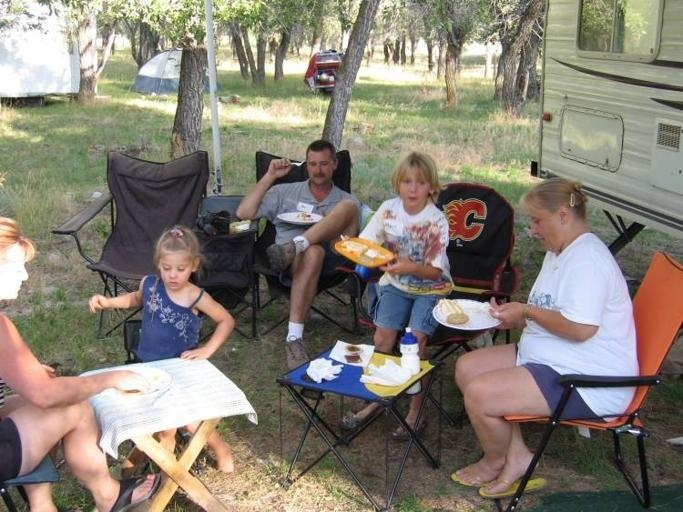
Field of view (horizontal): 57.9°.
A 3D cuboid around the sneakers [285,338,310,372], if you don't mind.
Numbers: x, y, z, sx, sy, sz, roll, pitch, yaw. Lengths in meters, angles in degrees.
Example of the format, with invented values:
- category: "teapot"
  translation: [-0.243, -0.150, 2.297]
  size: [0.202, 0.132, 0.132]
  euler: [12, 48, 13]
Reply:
- category: "sneakers"
  translation: [-0.303, 0.666, 4.234]
  size: [0.112, 0.130, 0.314]
  euler: [-7, 7, -16]

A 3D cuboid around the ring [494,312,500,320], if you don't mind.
- category: "ring"
  translation: [0.830, 0.319, 3.297]
  size: [0.021, 0.032, 0.010]
  euler: [-23, -19, 23]

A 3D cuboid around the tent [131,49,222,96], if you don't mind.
- category: "tent"
  translation: [-5.191, -5.266, 17.454]
  size: [1.344, 1.222, 1.035]
  euler: [3, 19, -2]

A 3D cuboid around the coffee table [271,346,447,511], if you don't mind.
- category: "coffee table"
  translation: [0.071, 0.813, 3.352]
  size: [0.814, 0.690, 0.788]
  euler: [-4, 8, -43]

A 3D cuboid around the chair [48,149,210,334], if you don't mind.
- category: "chair"
  translation: [-1.747, -0.028, 5.388]
  size: [1.183, 1.446, 1.174]
  euler: [-2, -16, -24]

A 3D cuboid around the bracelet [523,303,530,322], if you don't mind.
- category: "bracelet"
  translation: [0.950, 0.286, 3.184]
  size: [0.022, 0.066, 0.048]
  euler: [-1, -10, 6]

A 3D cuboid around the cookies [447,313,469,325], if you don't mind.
- category: "cookies"
  translation: [0.647, 0.351, 3.461]
  size: [0.079, 0.020, 0.061]
  euler: [4, 29, 13]

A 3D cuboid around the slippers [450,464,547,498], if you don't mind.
- category: "slippers"
  translation: [0.832, 1.193, 3.221]
  size: [0.392, 0.101, 0.191]
  euler: [0, 15, -2]

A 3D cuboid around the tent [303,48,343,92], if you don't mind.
- category: "tent"
  translation: [-0.532, -6.142, 19.381]
  size: [0.959, 0.794, 1.656]
  euler: [-13, 36, -26]

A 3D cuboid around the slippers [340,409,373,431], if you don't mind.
- category: "slippers"
  translation: [0.079, 0.951, 3.646]
  size: [0.191, 0.052, 0.101]
  euler: [-31, 38, 2]

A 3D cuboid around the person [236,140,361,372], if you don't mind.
- category: "person"
  translation: [-0.318, -0.058, 4.690]
  size: [0.944, 1.749, 0.948]
  euler: [1, -7, 3]

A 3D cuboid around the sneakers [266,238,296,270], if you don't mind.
- category: "sneakers"
  translation: [-0.426, 0.014, 4.395]
  size: [0.206, 0.248, 0.124]
  euler: [3, 19, -3]

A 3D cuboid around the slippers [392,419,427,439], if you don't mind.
- category: "slippers"
  translation: [0.393, 0.990, 3.591]
  size: [0.249, 0.096, 0.129]
  euler: [-2, -3, -32]

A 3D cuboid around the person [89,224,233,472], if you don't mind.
- category: "person"
  translation: [-1.021, 0.541, 3.600]
  size: [0.770, 1.343, 0.427]
  euler: [8, 20, 5]

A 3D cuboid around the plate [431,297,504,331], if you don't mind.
- category: "plate"
  translation: [0.695, 0.333, 3.503]
  size: [0.221, 0.033, 0.225]
  euler: [22, 34, 33]

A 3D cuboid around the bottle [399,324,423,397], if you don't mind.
- category: "bottle"
  translation: [0.354, 0.537, 3.249]
  size: [0.102, 0.323, 0.104]
  euler: [-3, 16, 1]

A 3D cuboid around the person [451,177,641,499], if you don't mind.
- category: "person"
  translation: [1.043, 0.424, 3.301]
  size: [0.943, 1.672, 0.792]
  euler: [-2, 2, 13]
